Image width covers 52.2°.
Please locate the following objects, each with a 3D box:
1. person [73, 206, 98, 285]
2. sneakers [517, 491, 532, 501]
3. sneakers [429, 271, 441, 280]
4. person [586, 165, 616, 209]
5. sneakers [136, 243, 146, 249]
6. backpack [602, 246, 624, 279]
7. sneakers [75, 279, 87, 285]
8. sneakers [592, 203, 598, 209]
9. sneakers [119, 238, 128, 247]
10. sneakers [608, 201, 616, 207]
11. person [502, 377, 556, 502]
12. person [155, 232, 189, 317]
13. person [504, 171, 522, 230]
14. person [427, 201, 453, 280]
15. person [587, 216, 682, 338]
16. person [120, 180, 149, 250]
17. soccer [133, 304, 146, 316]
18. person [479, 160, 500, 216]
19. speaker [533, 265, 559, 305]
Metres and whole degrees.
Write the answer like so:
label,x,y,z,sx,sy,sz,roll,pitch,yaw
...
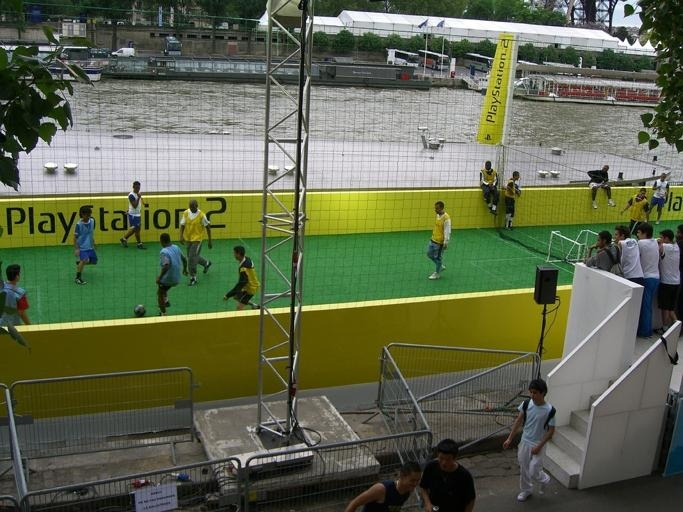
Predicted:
label,x,y,z,sx,sy,sz,roll,pitch,yaw
person,-5.041,-0.271,13.650,0.446,1.486,0.819,-5,15,-20
sneakers,2.555,3.374,9.860,0.251,0.101,0.092,-5,19,-29
sneakers,1.955,0.429,14.736,0.292,0.127,0.104,-4,8,-43
person,6.929,-1.830,18.611,0.736,1.026,1.307,5,15,19
sneakers,-4.334,-0.225,15.040,0.188,0.076,0.122,-3,-23,-18
backpack,4.369,0.082,11.155,0.223,0.472,0.168,-8,16,-29
sneakers,-5.042,0.500,13.477,0.212,0.093,0.078,5,15,19
sneakers,6.655,-1.311,18.344,0.180,0.157,0.050,-8,16,-28
sneakers,-4.706,-0.288,15.045,0.106,0.152,0.056,-21,24,22
sneakers,7.149,-1.380,18.503,0.194,0.189,0.096,-2,22,3
person,2.621,2.535,9.715,0.595,1.841,0.571,4,15,16
person,-3.122,0.254,12.806,0.571,1.445,1.666,-4,14,-13
person,4.243,-1.376,17.393,0.406,1.431,0.797,3,15,14
person,2.039,-0.348,14.710,0.442,1.609,0.968,2,14,8
person,5.155,0.459,11.395,0.855,1.722,0.385,-6,15,-21
person,-4.486,-0.879,14.822,0.524,1.454,0.827,-5,15,-17
soccer,-3.490,0.960,12.040,0.203,0.205,0.204,16,-16,-21
person,3.702,-1.679,17.455,0.558,1.338,0.418,-2,14,-5
speaker,3.266,0.497,11.195,0.333,0.672,0.328,3,15,13
